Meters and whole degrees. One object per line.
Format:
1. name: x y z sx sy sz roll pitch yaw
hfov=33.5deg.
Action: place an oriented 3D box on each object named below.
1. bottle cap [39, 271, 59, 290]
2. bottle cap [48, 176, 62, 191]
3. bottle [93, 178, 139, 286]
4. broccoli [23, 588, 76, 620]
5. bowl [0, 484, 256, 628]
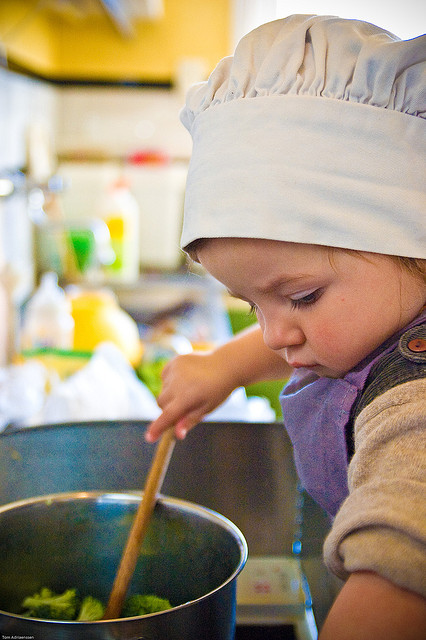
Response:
1. bottle cap: -0.269 -0.066 1.171 0.022 0.034 0.045 5 13 18
2. bottle cap: -0.241 -0.208 1.080 0.022 0.018 0.022 11 17 27
3. bottle: -0.165 -0.162 1.300 0.074 0.188 0.168 2 13 9
4. broccoli: -0.191 0.338 0.857 0.040 0.016 0.041 -3 1 34
5. bowl: -0.105 0.231 0.785 0.263 0.138 0.237 1 -1 -1
